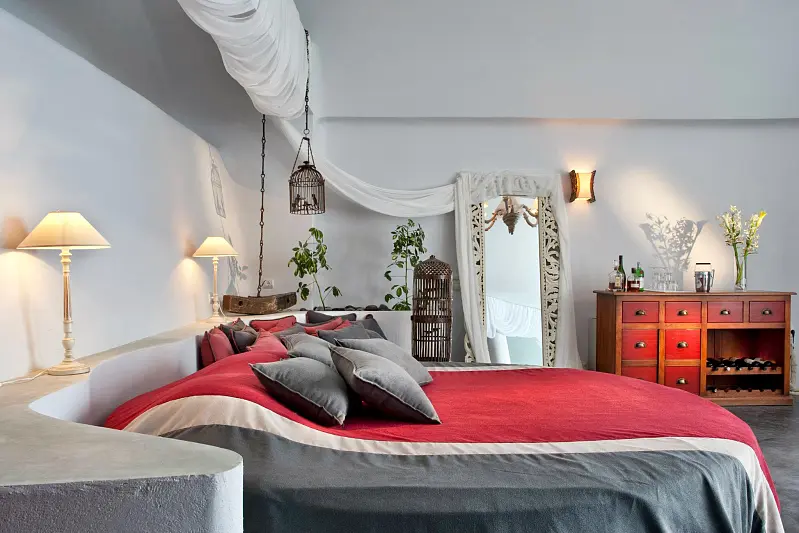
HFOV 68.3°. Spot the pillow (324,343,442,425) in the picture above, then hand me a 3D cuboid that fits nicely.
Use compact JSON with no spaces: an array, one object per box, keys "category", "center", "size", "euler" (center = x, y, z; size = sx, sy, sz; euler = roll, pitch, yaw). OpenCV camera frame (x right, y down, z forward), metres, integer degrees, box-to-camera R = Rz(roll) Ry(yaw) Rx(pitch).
[{"category":"pillow","center":[-0.082,0.724,3.501],"size":[0.387,0.195,0.618],"euler":[25,4,-24]}]

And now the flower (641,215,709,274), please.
[{"category":"flower","center":[3.043,-0.231,6.656],"size":[0.631,0.470,0.646],"euler":[0,-2,-5]}]

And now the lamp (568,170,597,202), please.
[{"category":"lamp","center":[1.997,-0.866,6.498],"size":[0.314,0.405,0.317],"euler":[0,2,5]}]

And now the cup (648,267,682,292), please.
[{"category":"cup","center":[2.944,0.143,6.493],"size":[0.298,0.313,0.310],"euler":[0,-1,0]}]

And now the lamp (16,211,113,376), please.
[{"category":"lamp","center":[-2.009,0.158,3.524],"size":[0.384,0.973,0.474],"euler":[-1,-5,33]}]

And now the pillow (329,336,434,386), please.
[{"category":"pillow","center":[-0.068,0.612,4.013],"size":[0.404,0.126,0.426],"euler":[22,-10,18]}]

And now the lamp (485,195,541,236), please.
[{"category":"lamp","center":[1.227,-0.579,6.484],"size":[0.454,0.481,0.213],"euler":[-3,4,8]}]

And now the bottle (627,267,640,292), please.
[{"category":"bottle","center":[2.455,0.143,6.193],"size":[0.116,0.251,0.210],"euler":[-1,-5,29]}]

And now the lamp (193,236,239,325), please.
[{"category":"lamp","center":[-1.589,0.123,5.086],"size":[0.370,0.684,0.380],"euler":[-11,-14,30]}]

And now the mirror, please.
[{"category":"mirror","center":[1.271,0.026,6.418],"size":[1.393,2.096,0.196],"euler":[2,-4,-11]}]
